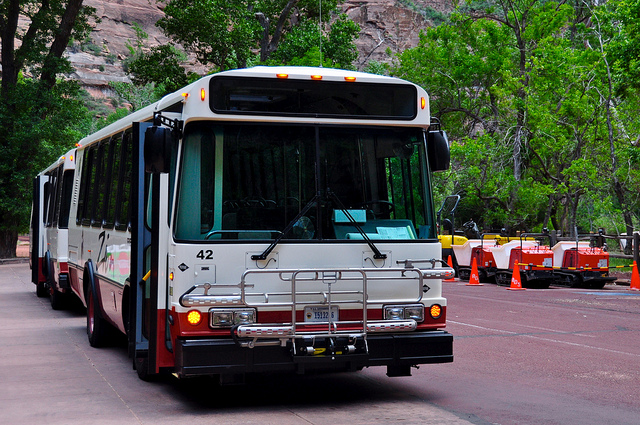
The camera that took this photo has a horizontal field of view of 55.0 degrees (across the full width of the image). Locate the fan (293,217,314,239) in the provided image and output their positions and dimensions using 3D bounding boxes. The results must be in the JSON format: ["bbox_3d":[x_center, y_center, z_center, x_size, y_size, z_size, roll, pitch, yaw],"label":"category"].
[{"bbox_3d":[-0.238,0.221,8.424,0.305,0.293,0.096,1,-10,-23],"label":"fan"}]

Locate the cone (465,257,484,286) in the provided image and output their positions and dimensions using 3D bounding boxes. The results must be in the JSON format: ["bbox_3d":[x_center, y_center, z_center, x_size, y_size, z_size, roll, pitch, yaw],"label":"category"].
[{"bbox_3d":[6.342,2.540,25.349,0.892,0.928,0.854,2,-9,-7],"label":"cone"}]

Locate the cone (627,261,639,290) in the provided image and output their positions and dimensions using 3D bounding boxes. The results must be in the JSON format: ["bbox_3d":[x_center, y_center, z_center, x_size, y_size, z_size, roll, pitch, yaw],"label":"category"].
[{"bbox_3d":[12.429,2.546,24.413,0.384,0.958,1.509,0,0,26],"label":"cone"}]
